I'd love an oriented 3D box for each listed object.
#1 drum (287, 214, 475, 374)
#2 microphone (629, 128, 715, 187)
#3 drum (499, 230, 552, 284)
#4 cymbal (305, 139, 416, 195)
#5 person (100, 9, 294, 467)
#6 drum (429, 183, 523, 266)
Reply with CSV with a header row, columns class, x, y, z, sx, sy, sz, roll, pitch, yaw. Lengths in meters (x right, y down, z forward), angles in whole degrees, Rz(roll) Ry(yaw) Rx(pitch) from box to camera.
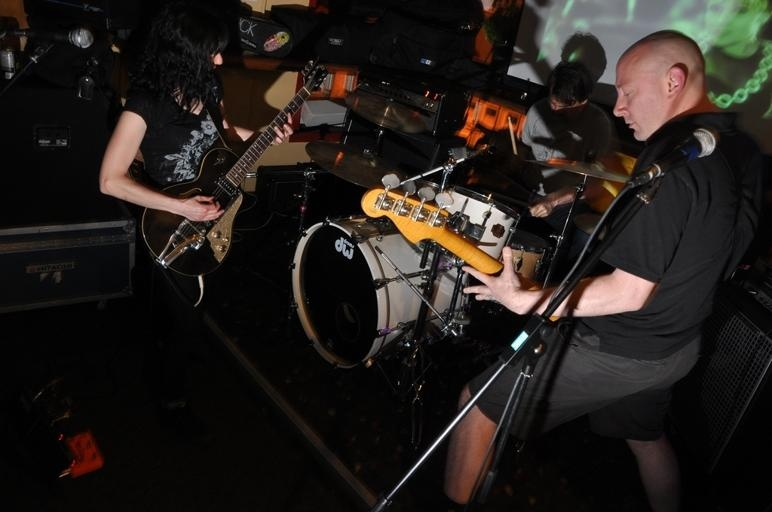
class,x,y,z,sx,sy,sz,roll,pitch,yaw
drum,-0.054,0.227,4.357,1.356,1.272,1.111,5,15,38
microphone,1.303,-0.425,2.348,0.407,0.299,0.151,-4,29,-35
drum,0.983,0.011,3.738,0.270,0.308,0.444,13,-1,22
cymbal,-0.241,-0.736,4.300,0.654,0.124,0.638,7,35,-29
person,-1.502,-0.367,3.660,0.809,2.550,1.330,6,25,-17
drum,0.697,-0.273,3.849,0.566,0.562,0.561,36,-9,-1
